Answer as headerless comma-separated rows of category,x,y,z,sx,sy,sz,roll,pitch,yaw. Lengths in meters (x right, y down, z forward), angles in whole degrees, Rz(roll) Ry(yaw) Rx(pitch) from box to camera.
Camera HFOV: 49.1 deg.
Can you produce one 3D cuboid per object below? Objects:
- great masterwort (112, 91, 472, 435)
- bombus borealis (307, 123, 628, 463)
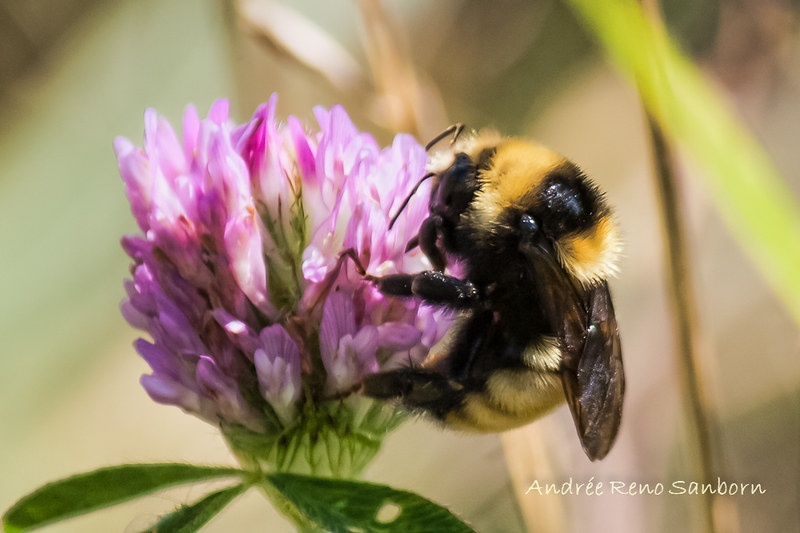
great masterwort,-0.193,-0.017,1.333,0.409,0.400,0.475,16,83,-12
bombus borealis,0.079,0.016,1.205,0.144,0.452,0.421,6,9,31
